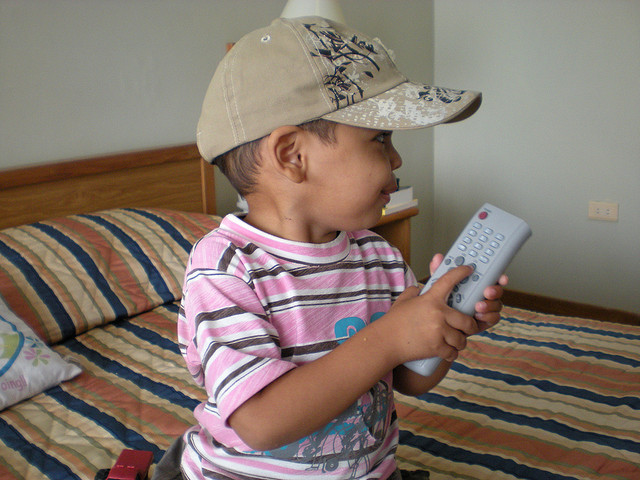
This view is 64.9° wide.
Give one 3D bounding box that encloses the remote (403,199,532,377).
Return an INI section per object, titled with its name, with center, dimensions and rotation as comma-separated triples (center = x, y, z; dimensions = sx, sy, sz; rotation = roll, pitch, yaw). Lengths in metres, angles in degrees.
[remote]
center = 0.284, 0.062, 0.899
dimensions = 0.146, 0.073, 0.378
rotation = 32, 85, 25

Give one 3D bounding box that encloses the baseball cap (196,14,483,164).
[baseball cap]
center = 0.015, -0.287, 0.920
dimensions = 0.493, 0.260, 0.330
rotation = -10, 8, 15
